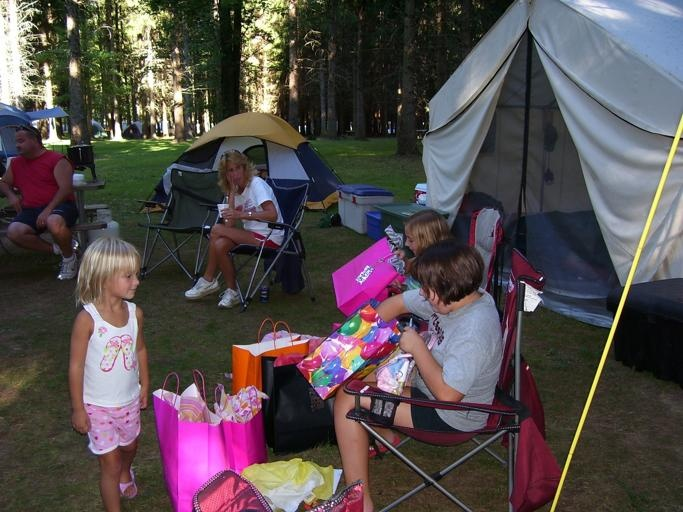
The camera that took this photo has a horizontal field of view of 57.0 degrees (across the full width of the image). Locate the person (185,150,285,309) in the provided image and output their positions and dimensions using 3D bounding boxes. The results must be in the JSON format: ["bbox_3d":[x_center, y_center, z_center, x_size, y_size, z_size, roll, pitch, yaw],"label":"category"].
[{"bbox_3d":[-1.027,-0.277,6.279,0.912,1.490,0.631,6,13,27],"label":"person"}]

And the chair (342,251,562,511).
[{"bbox_3d":[0.626,0.674,4.083,1.360,1.748,1.137,0,4,0],"label":"chair"}]

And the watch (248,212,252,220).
[{"bbox_3d":[-0.910,-0.400,6.171,0.037,0.064,0.061,-1,18,-11],"label":"watch"}]

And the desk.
[{"bbox_3d":[-3.135,-0.587,7.454,0.922,0.999,0.994,-1,4,0],"label":"desk"}]

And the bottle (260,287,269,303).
[{"bbox_3d":[-0.780,0.388,6.388,0.107,0.137,0.116,2,13,0],"label":"bottle"}]

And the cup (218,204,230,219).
[{"bbox_3d":[-1.178,-0.458,6.286,0.125,0.138,0.129,-2,-3,0],"label":"cup"}]

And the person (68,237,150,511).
[{"bbox_3d":[-1.302,0.672,3.555,0.355,1.538,0.460,0,11,-1],"label":"person"}]

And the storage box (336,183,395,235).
[{"bbox_3d":[0.285,-0.741,9.461,0.558,0.654,0.808,-1,14,-28],"label":"storage box"}]

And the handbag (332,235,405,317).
[{"bbox_3d":[0.231,0.230,4.414,0.496,0.251,0.455,29,30,-33],"label":"handbag"}]

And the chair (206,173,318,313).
[{"bbox_3d":[-0.832,-0.181,6.471,0.944,1.202,0.711,-7,16,-37],"label":"chair"}]

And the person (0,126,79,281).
[{"bbox_3d":[-3.309,-0.565,6.839,0.754,1.662,0.672,-3,12,-13],"label":"person"}]

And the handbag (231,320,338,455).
[{"bbox_3d":[-0.369,0.862,3.972,0.691,1.042,0.500,-3,0,-38],"label":"handbag"}]

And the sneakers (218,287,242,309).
[{"bbox_3d":[-1.116,0.414,6.255,0.112,0.154,0.310,0,1,14],"label":"sneakers"}]

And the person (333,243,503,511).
[{"bbox_3d":[0.457,0.640,3.505,0.845,1.471,0.662,4,12,16],"label":"person"}]

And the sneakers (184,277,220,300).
[{"bbox_3d":[-1.407,0.304,6.430,0.382,0.207,0.155,-23,35,-29],"label":"sneakers"}]

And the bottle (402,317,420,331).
[{"bbox_3d":[0.413,0.404,3.803,0.081,0.057,0.107,5,19,-3],"label":"bottle"}]

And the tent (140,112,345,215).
[{"bbox_3d":[-1.145,-1.560,9.414,1.904,1.088,2.075,1,6,5],"label":"tent"}]
